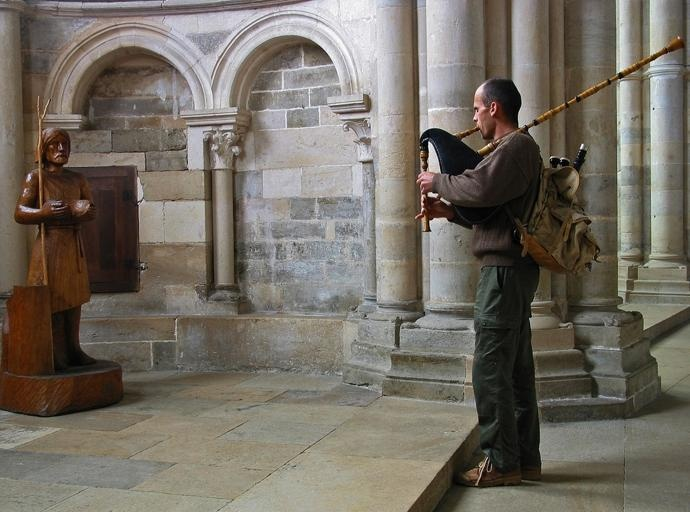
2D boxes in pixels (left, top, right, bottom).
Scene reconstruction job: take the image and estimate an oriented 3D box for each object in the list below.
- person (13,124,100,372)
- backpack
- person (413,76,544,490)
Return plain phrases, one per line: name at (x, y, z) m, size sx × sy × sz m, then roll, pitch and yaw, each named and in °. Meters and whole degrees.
person at (-1.908, -0.057, 5.277) m, size 0.484 × 1.580 × 0.557 m, roll 5°, pitch 15°, yaw 11°
backpack at (1.036, -0.183, 3.874) m, size 0.426 × 0.511 × 0.225 m, roll 1°, pitch 15°, yaw -1°
person at (0.751, 0.157, 3.993) m, size 0.458 × 2.080 × 0.654 m, roll -9°, pitch 18°, yaw -34°
